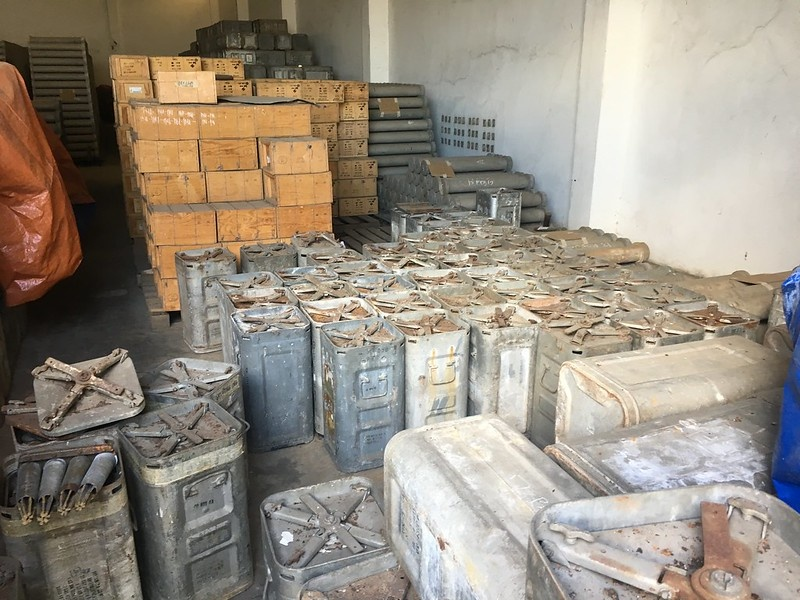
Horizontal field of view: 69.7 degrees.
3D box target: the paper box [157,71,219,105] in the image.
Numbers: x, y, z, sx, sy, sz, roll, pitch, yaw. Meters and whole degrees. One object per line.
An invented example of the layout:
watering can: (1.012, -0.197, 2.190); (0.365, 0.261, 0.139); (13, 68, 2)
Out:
paper box: (-2.498, -2.502, 6.768); (0.666, 0.424, 0.329); (-1, -9, -20)
